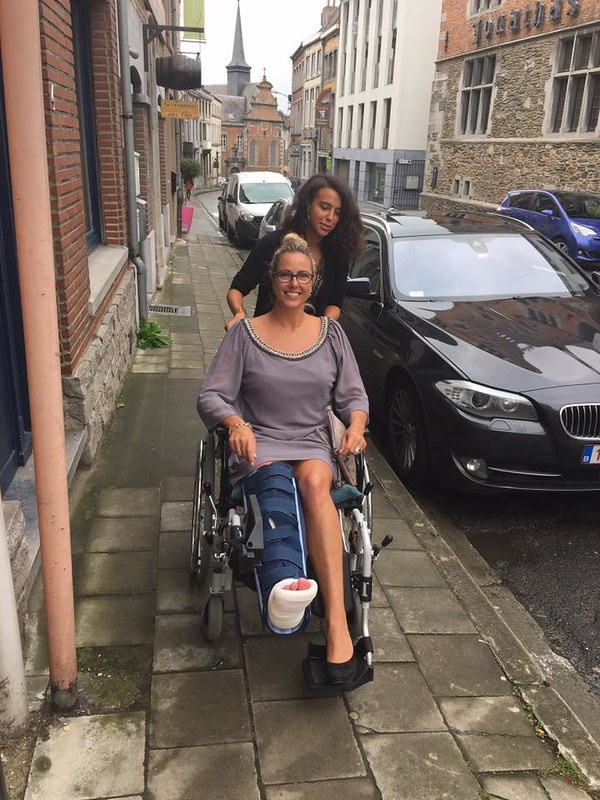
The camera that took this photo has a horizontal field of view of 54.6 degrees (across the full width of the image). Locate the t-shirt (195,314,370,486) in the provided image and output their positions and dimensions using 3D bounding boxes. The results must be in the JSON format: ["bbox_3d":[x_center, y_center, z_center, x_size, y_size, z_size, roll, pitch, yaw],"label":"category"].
[{"bbox_3d":[-0.063,-0.003,2.564,0.727,0.729,0.407,2,1,-10],"label":"t-shirt"}]

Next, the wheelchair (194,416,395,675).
[{"bbox_3d":[-0.133,0.659,2.421,0.606,1.160,1.023,5,55,-8],"label":"wheelchair"}]

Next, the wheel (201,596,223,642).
[{"bbox_3d":[-0.355,0.887,2.342,0.064,0.221,0.184,3,9,-8],"label":"wheel"}]

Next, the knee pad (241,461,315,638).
[{"bbox_3d":[-0.110,0.465,1.992,0.168,0.244,0.585,3,41,-10],"label":"knee pad"}]

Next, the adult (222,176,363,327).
[{"bbox_3d":[0.014,-0.736,3.464,0.427,1.200,0.341,11,18,-15],"label":"adult"}]

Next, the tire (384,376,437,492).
[{"bbox_3d":[0.772,0.251,4.055,0.179,0.576,0.590,1,56,-12],"label":"tire"}]

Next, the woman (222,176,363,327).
[{"bbox_3d":[0.028,-0.737,3.489,0.450,1.237,0.360,6,23,-24],"label":"woman"}]

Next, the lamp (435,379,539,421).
[{"bbox_3d":[1.088,0.007,3.426,0.328,0.107,0.255,19,7,11],"label":"lamp"}]
